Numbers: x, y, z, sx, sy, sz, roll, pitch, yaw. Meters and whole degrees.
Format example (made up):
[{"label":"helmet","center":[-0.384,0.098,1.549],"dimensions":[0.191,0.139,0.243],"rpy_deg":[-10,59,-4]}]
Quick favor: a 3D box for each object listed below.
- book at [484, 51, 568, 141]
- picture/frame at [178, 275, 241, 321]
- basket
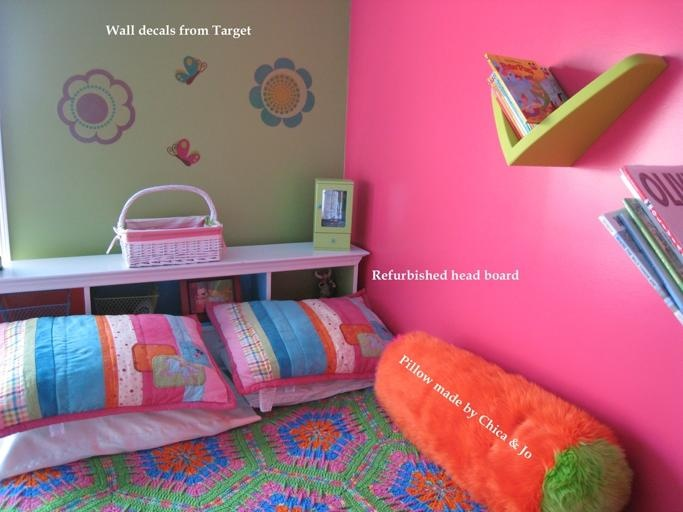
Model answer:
[{"label":"book","center":[0.617,-0.520,1.681],"dimensions":[0.216,0.271,0.272],"rpy_deg":[1,5,29]},{"label":"picture/frame","center":[-0.742,0.249,2.883],"dimensions":[0.312,0.239,0.230],"rpy_deg":[-2,3,-19]},{"label":"basket","center":[-0.837,-0.153,2.552],"dimensions":[0.528,0.426,0.333],"rpy_deg":[-5,6,-14]}]
